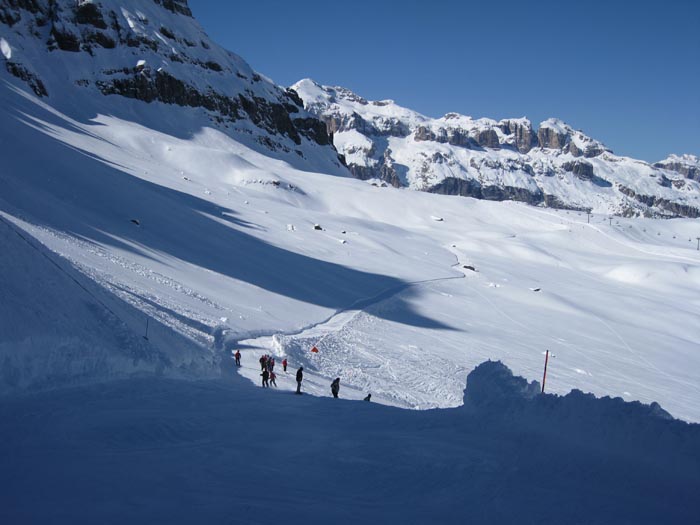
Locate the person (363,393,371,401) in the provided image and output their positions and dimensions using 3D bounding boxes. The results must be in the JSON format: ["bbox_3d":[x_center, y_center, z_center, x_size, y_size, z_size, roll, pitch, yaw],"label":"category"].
[{"bbox_3d":[2.299,21.315,193.750,0.759,1.024,2.103,1,-1,-3],"label":"person"}]
